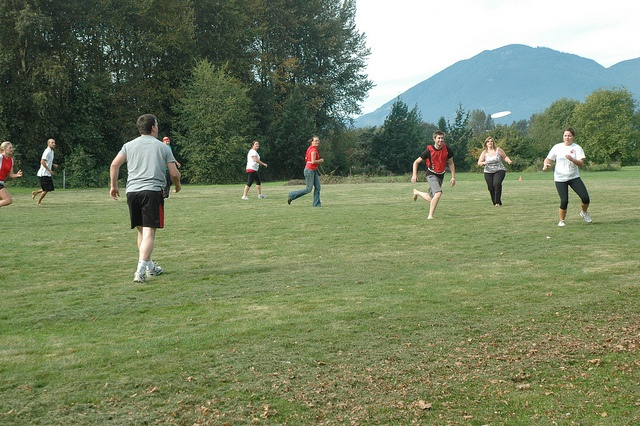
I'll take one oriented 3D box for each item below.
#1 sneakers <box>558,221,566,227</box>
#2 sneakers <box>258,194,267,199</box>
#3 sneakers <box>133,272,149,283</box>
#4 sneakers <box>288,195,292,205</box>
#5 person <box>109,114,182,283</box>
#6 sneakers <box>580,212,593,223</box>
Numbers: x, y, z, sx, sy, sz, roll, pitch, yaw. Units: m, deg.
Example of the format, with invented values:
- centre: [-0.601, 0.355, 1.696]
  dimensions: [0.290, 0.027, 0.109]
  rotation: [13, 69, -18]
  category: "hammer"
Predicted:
- centre: [5.716, 0.254, 14.767]
  dimensions: [0.095, 0.093, 0.233]
  rotation: [1, -5, 9]
  category: "sneakers"
- centre: [-2.178, -0.661, 24.503]
  dimensions: [0.426, 0.158, 0.134]
  rotation: [-3, 8, -21]
  category: "sneakers"
- centre: [-3.014, 1.088, 10.554]
  dimensions: [0.130, 0.149, 0.351]
  rotation: [1, -9, -14]
  category: "sneakers"
- centre: [-0.961, -0.396, 20.321]
  dimensions: [0.109, 0.312, 0.137]
  rotation: [1, 42, -3]
  category: "sneakers"
- centre: [-2.974, -0.116, 10.893]
  dimensions: [1.123, 2.401, 0.938]
  rotation: [-5, 9, -27]
  category: "person"
- centre: [6.522, 0.069, 15.293]
  dimensions: [0.156, 0.165, 0.391]
  rotation: [-16, 43, -8]
  category: "sneakers"
